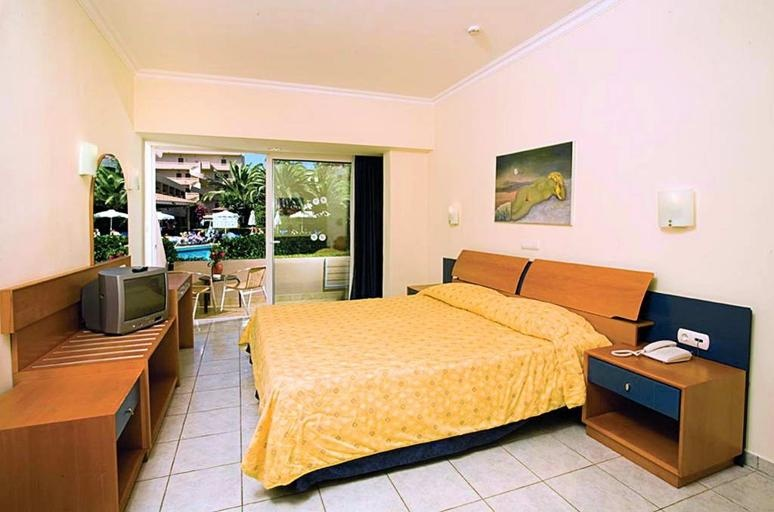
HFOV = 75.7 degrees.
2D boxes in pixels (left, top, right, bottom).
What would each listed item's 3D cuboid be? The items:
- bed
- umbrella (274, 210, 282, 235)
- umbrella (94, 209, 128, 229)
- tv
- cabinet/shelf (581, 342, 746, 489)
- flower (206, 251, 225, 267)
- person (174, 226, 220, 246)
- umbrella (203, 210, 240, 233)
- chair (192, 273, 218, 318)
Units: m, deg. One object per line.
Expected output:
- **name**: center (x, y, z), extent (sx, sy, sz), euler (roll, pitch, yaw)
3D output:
- **bed**: center (0.286, 0.864, 4.113), extent (2.426, 0.946, 2.125), euler (-3, 9, -22)
- **umbrella**: center (-1.517, -0.455, 6.851), extent (0.099, 0.338, 0.070), euler (-4, 15, -13)
- **umbrella**: center (-2.671, -0.357, 4.788), extent (0.155, 0.100, 0.158), euler (-14, 22, -38)
- **tv**: center (-2.142, 0.339, 4.223), extent (0.534, 0.523, 0.600), euler (3, 6, 12)
- **cabinet/shelf**: center (2.094, 1.132, 3.986), extent (0.941, 0.929, 1.133), euler (0, 2, -23)
- **flower**: center (-2.658, 0.059, 7.608), extent (0.252, 0.240, 0.244), euler (4, 5, 5)
- **person**: center (-3.764, -0.375, 9.807), extent (0.886, 0.269, 0.526), euler (-7, 15, -26)
- **umbrella**: center (-3.436, -0.738, 10.262), extent (0.549, 0.403, 0.558), euler (-6, 12, -28)
- **chair**: center (-2.709, 0.526, 7.397), extent (0.351, 0.631, 1.051), euler (-6, 15, -19)
